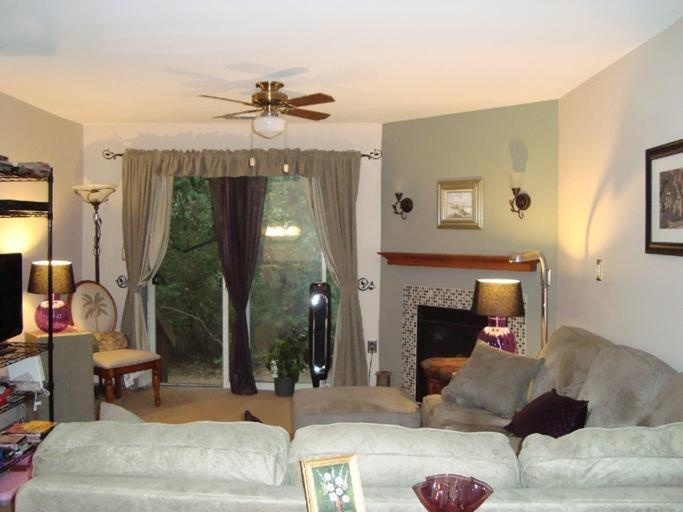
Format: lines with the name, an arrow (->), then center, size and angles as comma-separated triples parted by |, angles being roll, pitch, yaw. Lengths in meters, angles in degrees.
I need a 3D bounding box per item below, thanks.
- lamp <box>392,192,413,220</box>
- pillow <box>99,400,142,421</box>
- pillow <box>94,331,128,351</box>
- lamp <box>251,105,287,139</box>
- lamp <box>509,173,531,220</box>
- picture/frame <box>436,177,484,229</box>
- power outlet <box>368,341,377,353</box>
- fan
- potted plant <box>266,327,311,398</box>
lamp -> 0.654, -0.536, 5.879 | 0.280, 0.340, 0.107 | 1, 1, 33
pillow -> -1.037, 0.729, 2.572 | 0.122, 0.042, 0.133 | 19, -7, -15
pillow -> -2.393, 0.877, 5.749 | 0.194, 0.053, 0.192 | 8, 10, 13
lamp -> -0.522, -0.963, 3.947 | 0.195, 0.190, 0.178 | 0, 0, -38
lamp -> 1.657, -0.562, 5.132 | 0.192, 0.424, 0.212 | 0, 0, 16
picture/frame -> 1.197, -0.529, 5.506 | 0.497, 0.574, 0.047 | 1, 2, 31
power outlet -> 0.336, 0.994, 6.114 | 0.117, 0.170, 0.085 | 0, -5, 0
fan -> -0.602, -1.292, 4.549 | 0.522, 0.134, 0.522 | 4, 4, 40
potted plant -> -0.589, 1.145, 6.075 | 0.443, 0.724, 0.287 | -1, 0, -6
